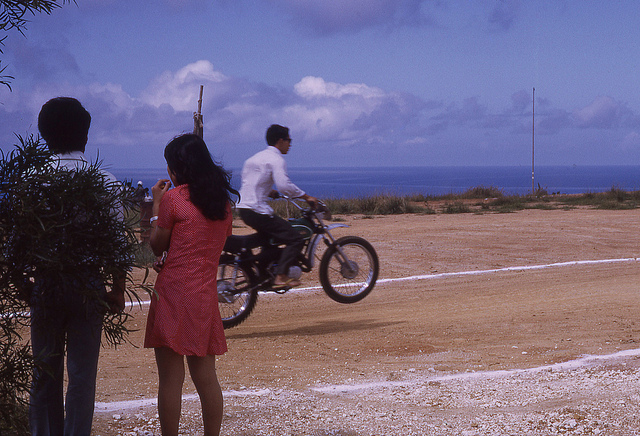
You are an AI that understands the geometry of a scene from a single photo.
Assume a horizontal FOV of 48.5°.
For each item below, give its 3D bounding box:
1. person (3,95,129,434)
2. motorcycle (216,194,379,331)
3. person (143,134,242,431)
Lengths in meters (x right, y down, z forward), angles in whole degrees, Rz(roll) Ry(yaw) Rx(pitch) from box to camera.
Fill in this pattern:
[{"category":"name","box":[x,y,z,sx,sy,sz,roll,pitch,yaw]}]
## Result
[{"category":"person","box":[-2.053,0.517,5.896,0.950,3.003,0.985,-3,8,-16]},{"category":"motorcycle","box":[-0.478,0.497,9.959,2.853,1.804,1.490,-8,1,-22]},{"category":"person","box":[-1.145,0.587,6.289,0.819,2.623,0.424,-3,8,-15]}]
